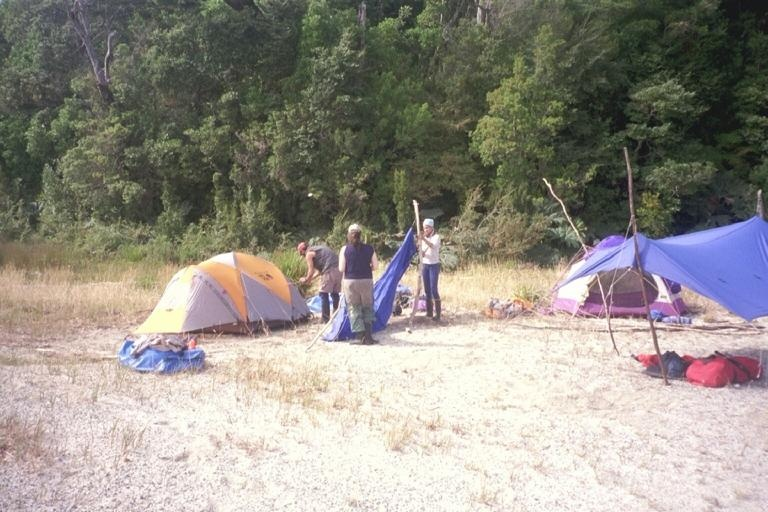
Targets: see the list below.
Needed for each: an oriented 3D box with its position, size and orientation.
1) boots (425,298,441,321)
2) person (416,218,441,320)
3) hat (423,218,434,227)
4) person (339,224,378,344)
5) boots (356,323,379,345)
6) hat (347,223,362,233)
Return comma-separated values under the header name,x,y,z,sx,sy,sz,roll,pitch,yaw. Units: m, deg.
name,x,y,z,sx,sy,sz,roll,pitch,yaw
boots,1.473,1.670,24.967,0.594,0.889,0.518,-1,-7,0
person,1.386,0.420,24.602,0.616,3.059,0.943,0,-3,8
hat,1.327,-1.080,24.618,0.330,0.321,0.389,2,-20,8
person,-0.785,0.824,23.370,1.114,3.445,0.724,1,-3,-6
boots,-0.521,2.292,23.344,0.720,0.917,0.394,0,-1,-38
hat,-0.867,-0.813,23.352,0.303,0.296,0.526,0,-4,6
